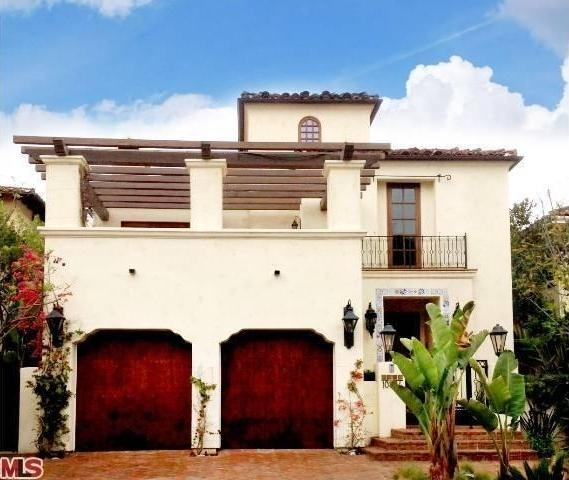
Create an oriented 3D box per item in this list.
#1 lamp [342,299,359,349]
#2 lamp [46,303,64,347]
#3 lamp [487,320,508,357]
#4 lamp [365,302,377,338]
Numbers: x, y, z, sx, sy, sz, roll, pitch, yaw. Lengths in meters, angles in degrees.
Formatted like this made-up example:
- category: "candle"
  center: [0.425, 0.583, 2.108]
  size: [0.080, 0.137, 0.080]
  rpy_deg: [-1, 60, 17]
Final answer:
- category: "lamp"
  center: [1.961, 2.505, 30.330]
  size: [0.382, 1.434, 0.407]
  rpy_deg: [-1, -10, 1]
- category: "lamp"
  center: [-6.802, 2.540, 29.891]
  size: [0.535, 1.260, 0.432]
  rpy_deg: [1, -6, -15]
- category: "lamp"
  center: [6.643, 3.098, 31.420]
  size: [0.512, 0.996, 2.353]
  rpy_deg: [-2, -7, 12]
- category: "lamp"
  center: [2.774, 2.514, 32.604]
  size: [0.405, 1.141, 1.405]
  rpy_deg: [-1, -7, 4]
